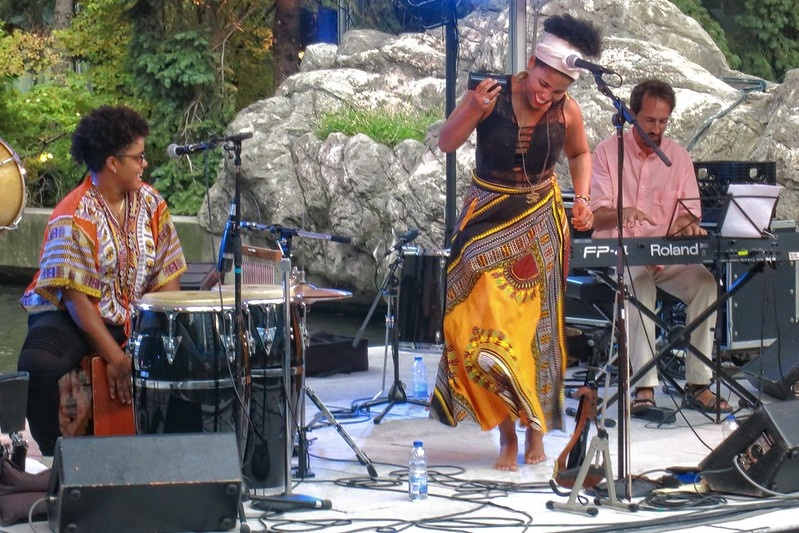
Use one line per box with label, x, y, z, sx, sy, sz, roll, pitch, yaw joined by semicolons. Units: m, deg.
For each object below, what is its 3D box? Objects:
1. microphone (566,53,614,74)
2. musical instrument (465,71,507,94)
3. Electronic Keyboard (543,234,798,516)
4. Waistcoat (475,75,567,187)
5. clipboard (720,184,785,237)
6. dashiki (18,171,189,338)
microphone;1.594;-1.723;13.213;0.143;0.135;0.541;-4;13;-32
musical instrument;0.760;-1.618;13.620;0.367;0.155;0.246;0;5;2
Electronic Keyboard;2.418;1.005;14.152;2.305;1.934;0.740;3;-6;-31
Waistcoat;1.035;-1.222;13.684;0.802;1.028;0.570;5;8;-3
clipboard;3.147;-0.505;14.153;0.506;0.490;0.283;1;5;13
dashiki;-2.694;-0.178;14.226;0.999;1.404;1.492;13;12;42
